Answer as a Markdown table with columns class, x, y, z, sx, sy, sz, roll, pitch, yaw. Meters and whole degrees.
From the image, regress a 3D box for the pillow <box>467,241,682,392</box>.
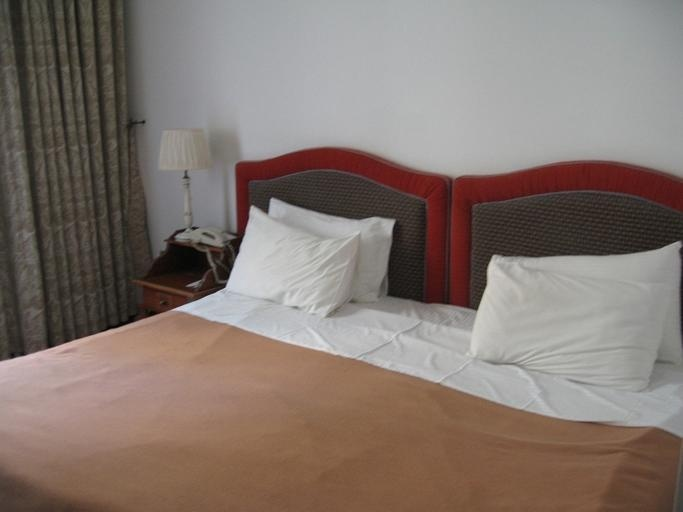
| class | x | y | z | sx | sy | sz | roll | pitch | yaw |
| --- | --- | --- | --- | --- | --- | --- | --- | --- | --- |
| pillow | 1.027 | 0.253 | 2.094 | 0.677 | 0.706 | 0.206 | 1 | -26 | 33 |

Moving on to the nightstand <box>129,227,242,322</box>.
| class | x | y | z | sx | sy | sz | roll | pitch | yaw |
| --- | --- | --- | --- | --- | --- | --- | --- | --- | --- |
| nightstand | -1.010 | 0.162 | 3.406 | 0.626 | 0.582 | 0.536 | 6 | 15 | 27 |
